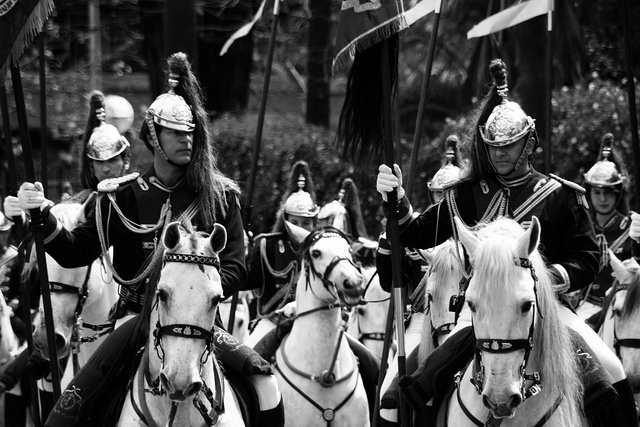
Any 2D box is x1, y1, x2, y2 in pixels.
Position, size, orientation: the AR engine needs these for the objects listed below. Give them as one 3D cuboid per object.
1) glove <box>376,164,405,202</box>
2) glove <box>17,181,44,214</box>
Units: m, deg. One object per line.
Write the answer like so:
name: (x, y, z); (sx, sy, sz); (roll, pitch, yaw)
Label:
glove: (0.729, -0.316, 11.738); (0.270, 0.383, 0.360); (3, 5, 11)
glove: (-2.953, -0.155, 11.456); (0.288, 0.304, 0.229); (1, 5, -14)
